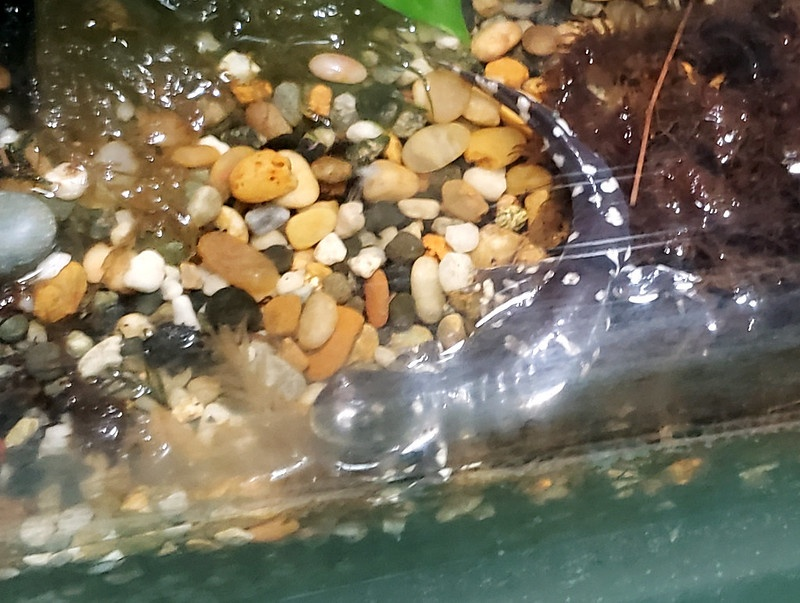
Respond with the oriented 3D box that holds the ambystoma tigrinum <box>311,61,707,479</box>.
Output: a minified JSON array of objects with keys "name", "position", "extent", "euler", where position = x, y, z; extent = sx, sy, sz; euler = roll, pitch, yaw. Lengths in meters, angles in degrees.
[{"name":"ambystoma tigrinum","position":[0.147,-0.039,1.793],"extent":[0.730,0.693,0.356],"euler":[-33,-32,21]}]
